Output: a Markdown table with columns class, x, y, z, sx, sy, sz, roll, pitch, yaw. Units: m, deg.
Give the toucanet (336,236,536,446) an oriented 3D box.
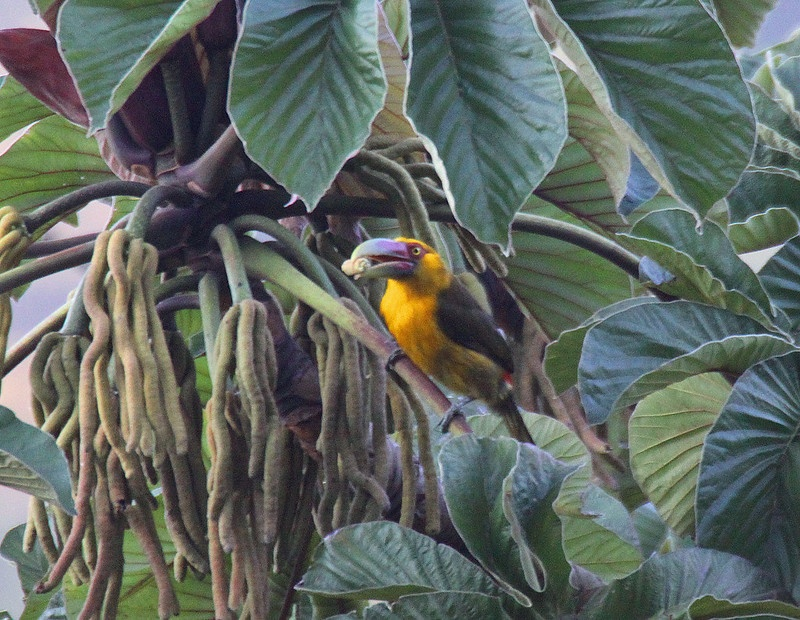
| class | x | y | z | sx | sy | sz | roll | pitch | yaw |
| --- | --- | --- | --- | --- | --- | --- | --- | --- | --- |
| toucanet | 0.082 | 0.050 | 2.724 | 0.361 | 0.329 | 0.156 | 2 | -5 | -38 |
